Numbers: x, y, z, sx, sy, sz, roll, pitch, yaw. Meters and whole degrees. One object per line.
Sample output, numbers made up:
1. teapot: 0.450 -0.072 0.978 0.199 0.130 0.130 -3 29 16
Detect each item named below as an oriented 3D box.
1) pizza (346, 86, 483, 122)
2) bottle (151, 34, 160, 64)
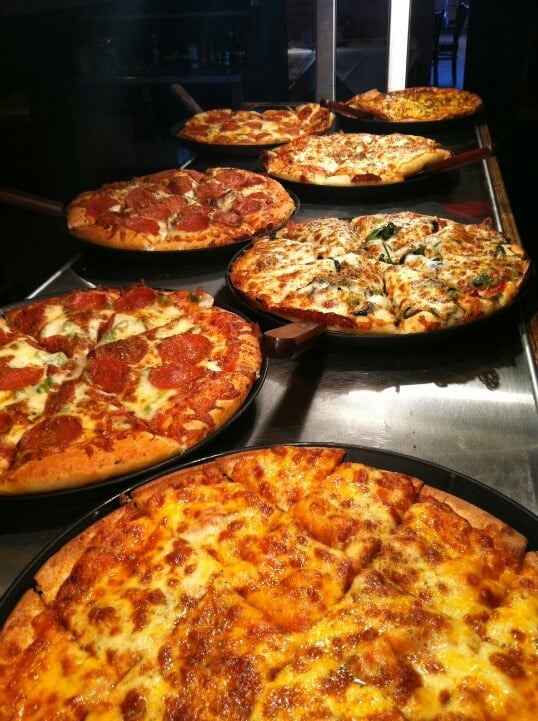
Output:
1. pizza: 0.902 -1.578 3.807 0.740 0.075 0.547 7 35 15
2. bottle: -1.031 -2.839 5.547 0.086 0.236 0.203 -6 33 -4
